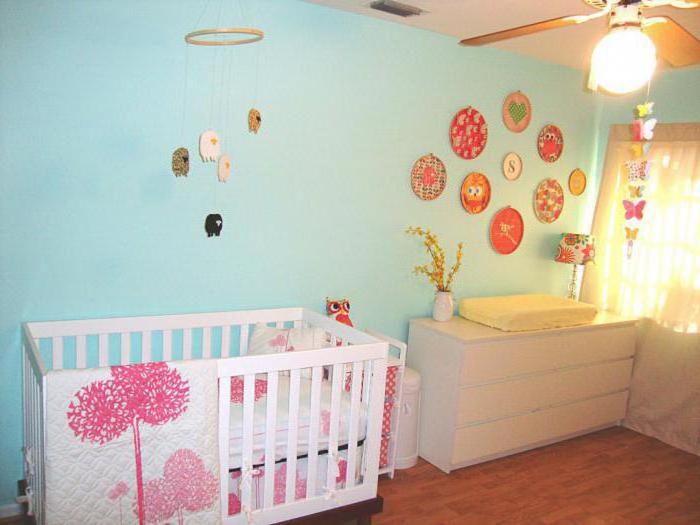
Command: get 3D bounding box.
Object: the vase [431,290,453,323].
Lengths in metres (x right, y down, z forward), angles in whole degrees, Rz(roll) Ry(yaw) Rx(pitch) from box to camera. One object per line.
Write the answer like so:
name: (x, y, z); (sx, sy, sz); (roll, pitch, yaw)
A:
vase: (0.657, 0.316, 3.813); (0.191, 0.211, 0.148); (6, -5, -13)

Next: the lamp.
lamp: (1.045, -0.813, 2.058); (0.215, 0.323, 0.209); (7, 13, 15)
